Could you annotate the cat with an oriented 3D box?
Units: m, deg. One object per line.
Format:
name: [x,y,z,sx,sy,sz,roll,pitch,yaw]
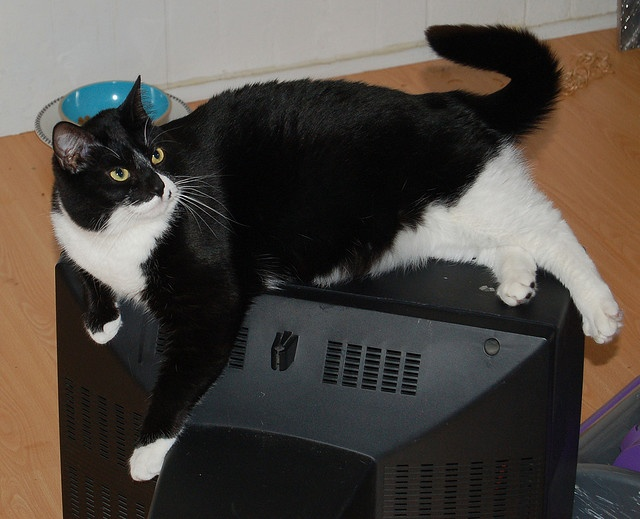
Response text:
cat: [0.026,0.044,1.641,0.915,0.522,0.691,-13,48,-8]
